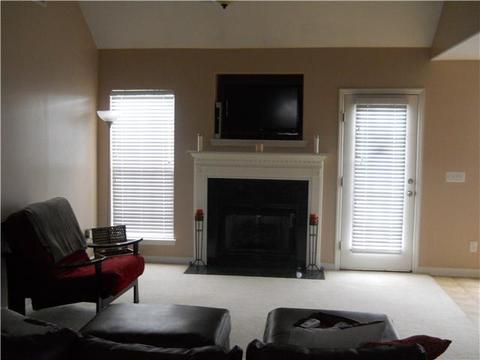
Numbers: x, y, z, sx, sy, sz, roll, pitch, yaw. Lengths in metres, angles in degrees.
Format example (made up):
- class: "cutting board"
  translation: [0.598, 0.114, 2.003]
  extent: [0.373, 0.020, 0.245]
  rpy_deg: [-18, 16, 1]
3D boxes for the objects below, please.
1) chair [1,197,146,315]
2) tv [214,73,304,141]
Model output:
- class: "chair"
  translation: [-1.713, 0.748, 4.538]
  extent: [1.203, 1.161, 0.994]
  rpy_deg: [1, 3, 5]
- class: "tv"
  translation: [0.287, -0.963, 5.686]
  extent: [0.883, 0.642, 0.115]
  rpy_deg: [1, 4, 5]
